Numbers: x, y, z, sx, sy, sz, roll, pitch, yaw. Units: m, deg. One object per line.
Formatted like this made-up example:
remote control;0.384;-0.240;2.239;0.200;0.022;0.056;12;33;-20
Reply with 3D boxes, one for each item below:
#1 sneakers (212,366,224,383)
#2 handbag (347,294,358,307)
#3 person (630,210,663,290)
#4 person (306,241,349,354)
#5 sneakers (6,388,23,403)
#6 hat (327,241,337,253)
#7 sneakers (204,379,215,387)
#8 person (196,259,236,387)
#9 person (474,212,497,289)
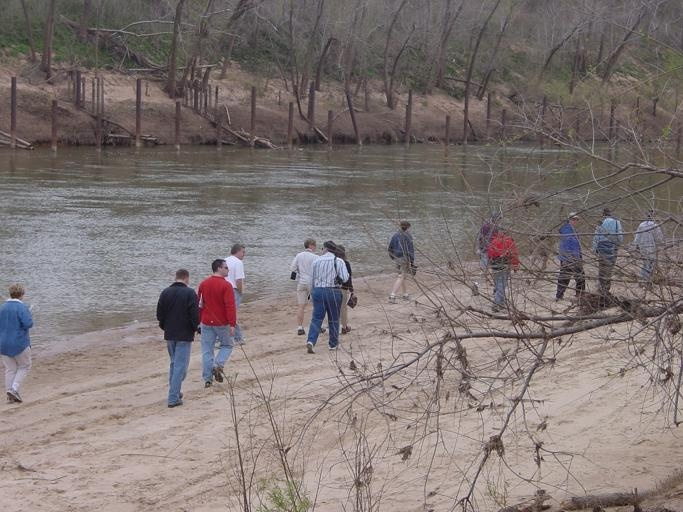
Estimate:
sneakers;-2.211;2.130;22.967;0.190;0.202;0.462;-2;-36;5
handbag;0.201;0.891;25.209;0.191;0.257;0.089;0;-4;9
person;4.923;-0.200;20.608;0.482;1.142;2.590;-5;6;14
person;-0.313;0.881;25.076;0.950;1.978;0.482;-7;6;0
sneakers;-6.017;2.566;23.516;0.269;0.258;0.256;-9;7;-19
hat;-0.234;-0.159;24.675;0.232;0.218;0.187;21;14;32
sneakers;-2.499;2.388;23.915;0.173;0.133;0.109;-7;6;-4
person;-2.354;1.260;23.958;0.760;2.320;0.525;-8;6;-7
person;2.222;-0.046;19.813;0.461;1.113;0.829;-6;6;6
